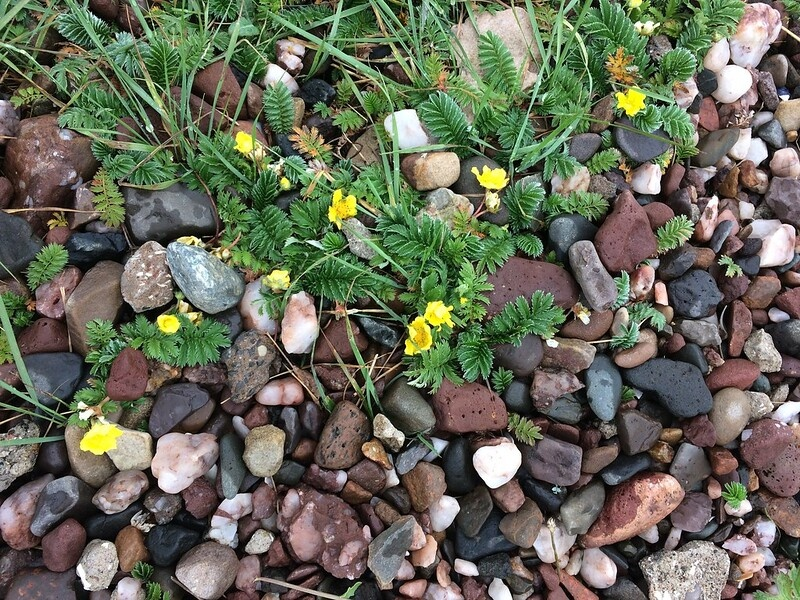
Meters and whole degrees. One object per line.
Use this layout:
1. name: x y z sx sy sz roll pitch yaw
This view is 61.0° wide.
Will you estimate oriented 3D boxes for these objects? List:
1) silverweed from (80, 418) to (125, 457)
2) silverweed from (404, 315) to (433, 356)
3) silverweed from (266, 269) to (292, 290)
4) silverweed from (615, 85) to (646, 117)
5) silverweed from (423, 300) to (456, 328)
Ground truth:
1. silverweed: -1.684 0.765 3.839 0.206 0.213 0.112 -20 31 -16
2. silverweed: 0.122 0.213 4.073 0.159 0.296 0.232 8 74 0
3. silverweed: -0.735 -0.117 4.086 0.120 0.124 0.057 -38 16 8
4. silverweed: 1.441 -1.225 4.265 0.180 0.070 0.203 20 100 16
5. silverweed: 0.235 0.076 4.051 0.170 0.255 0.183 14 74 1
